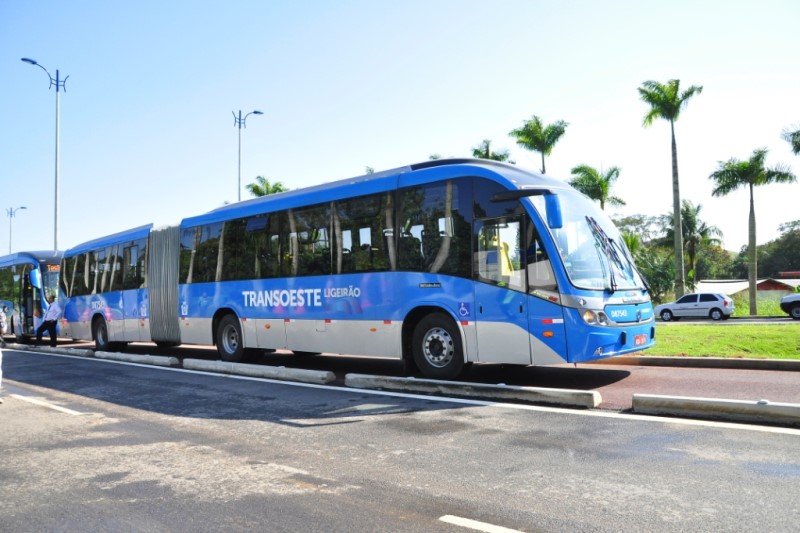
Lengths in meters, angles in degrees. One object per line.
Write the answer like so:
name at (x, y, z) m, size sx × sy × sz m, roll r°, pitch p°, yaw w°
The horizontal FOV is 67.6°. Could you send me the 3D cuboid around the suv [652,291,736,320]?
suv at (18.197, 2.459, 36.391) m, size 3.908 × 1.528 × 1.863 m, roll 0°, pitch -3°, yaw 38°
